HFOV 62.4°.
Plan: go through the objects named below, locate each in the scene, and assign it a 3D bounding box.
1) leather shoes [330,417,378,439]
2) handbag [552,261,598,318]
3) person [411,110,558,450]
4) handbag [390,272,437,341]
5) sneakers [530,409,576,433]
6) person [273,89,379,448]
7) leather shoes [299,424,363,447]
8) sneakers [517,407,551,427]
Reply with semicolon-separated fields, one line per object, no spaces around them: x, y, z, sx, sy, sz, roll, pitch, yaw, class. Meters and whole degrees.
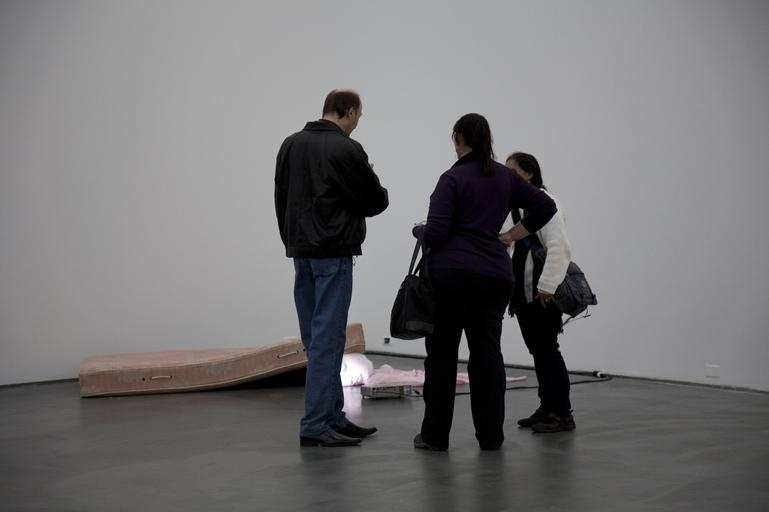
-0.212;1.189;4.399;0.326;0.151;0.121;7;-3;-6;leather shoes
1.408;0.215;4.543;0.243;0.353;0.184;-8;-13;23;handbag
0.517;0.159;4.096;0.641;2.156;0.216;0;2;2;person
0.180;0.326;4.050;0.271;0.423;0.180;0;2;10;handbag
1.203;1.185;4.548;0.303;0.130;0.124;1;-7;-12;sneakers
-0.357;0.048;4.260;0.738;2.376;0.415;0;2;-8;person
-0.347;1.191;4.186;0.406;0.146;0.144;-2;-8;4;leather shoes
1.097;1.189;4.637;0.268;0.124;0.089;3;-8;-16;sneakers
